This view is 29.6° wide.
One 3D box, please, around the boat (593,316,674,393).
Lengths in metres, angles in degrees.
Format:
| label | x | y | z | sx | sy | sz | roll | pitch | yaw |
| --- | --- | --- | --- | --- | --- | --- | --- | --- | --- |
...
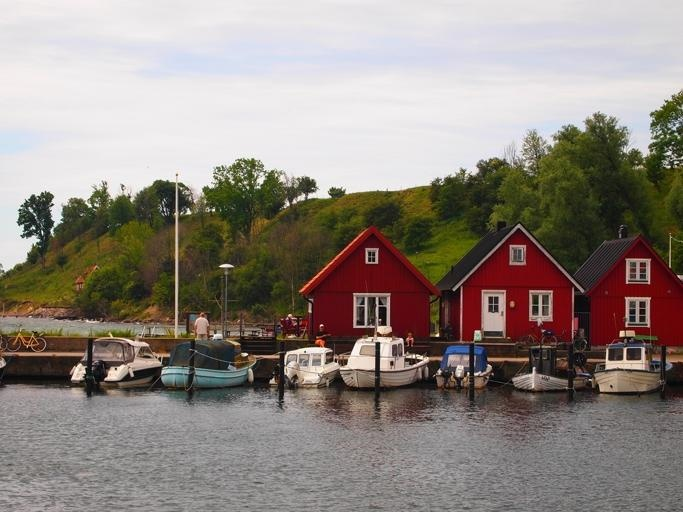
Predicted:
| label | x | y | z | sx | sy | sz | roll | pitch | yaw |
| --- | --- | --- | --- | --- | --- | --- | --- | --- | --- |
| boat | 19.371 | 7.004 | 85.773 | 4.987 | 4.176 | 4.620 | -1 | -6 | 14 |

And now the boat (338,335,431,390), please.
| label | x | y | z | sx | sy | sz | roll | pitch | yaw |
| --- | --- | --- | --- | --- | --- | --- | --- | --- | --- |
| boat | 2.823 | 7.008 | 86.006 | 5.726 | 3.437 | 2.304 | 4 | -6 | -33 |

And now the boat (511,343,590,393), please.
| label | x | y | z | sx | sy | sz | roll | pitch | yaw |
| --- | --- | --- | --- | --- | --- | --- | --- | --- | --- |
| boat | 13.809 | 7.491 | 85.982 | 4.830 | 2.989 | 3.679 | 1 | -6 | -3 |

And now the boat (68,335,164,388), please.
| label | x | y | z | sx | sy | sz | roll | pitch | yaw |
| --- | --- | --- | --- | --- | --- | --- | --- | --- | --- |
| boat | -14.681 | 7.122 | 87.266 | 4.327 | 3.281 | 1.879 | 2 | -5 | -15 |

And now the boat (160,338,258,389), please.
| label | x | y | z | sx | sy | sz | roll | pitch | yaw |
| --- | --- | --- | --- | --- | --- | --- | --- | --- | --- |
| boat | -8.947 | 7.202 | 86.608 | 5.983 | 3.334 | 2.112 | 4 | -6 | -30 |

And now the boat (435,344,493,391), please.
| label | x | y | z | sx | sy | sz | roll | pitch | yaw |
| --- | --- | --- | --- | --- | --- | --- | --- | --- | --- |
| boat | 8.078 | 7.236 | 85.749 | 3.462 | 2.914 | 2.200 | 0 | -5 | 7 |
